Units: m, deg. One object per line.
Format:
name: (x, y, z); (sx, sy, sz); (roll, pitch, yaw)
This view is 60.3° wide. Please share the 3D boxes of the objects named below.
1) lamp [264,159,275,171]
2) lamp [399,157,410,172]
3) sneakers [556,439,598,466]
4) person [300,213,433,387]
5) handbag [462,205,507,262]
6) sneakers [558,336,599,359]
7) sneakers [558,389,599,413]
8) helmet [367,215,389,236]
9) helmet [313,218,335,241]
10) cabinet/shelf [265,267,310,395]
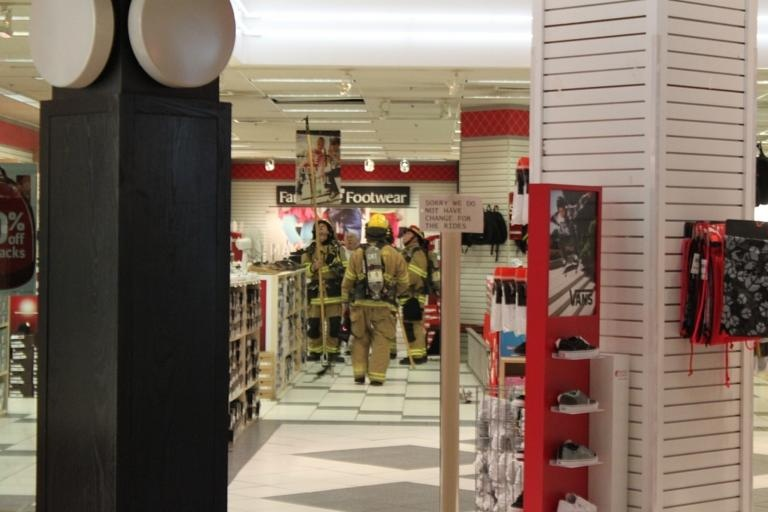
lamp: (-2.818, -2.245, 16.222); (0.247, 0.358, 0.139); (3, -8, 1)
lamp: (0.470, -2.108, 15.225); (0.239, 0.351, 0.091); (-2, 3, -4)
sneakers: (1.074, 1.100, 3.730); (0.263, 0.125, 0.109); (2, -3, -28)
person: (-0.095, 0.594, 9.237); (0.830, 2.367, 0.640); (-1, 2, -34)
handbag: (1.728, -0.364, 10.754); (0.742, 1.065, 0.995); (-1, -5, 10)
sneakers: (1.078, 0.520, 3.756); (0.270, 0.119, 0.101); (2, -2, -18)
sneakers: (1.134, 0.827, 3.791); (0.279, 0.113, 0.102); (4, -5, -35)
helmet: (-0.096, -0.440, 9.613); (0.260, 0.284, 0.333); (0, -7, -1)
helmet: (-0.894, -0.414, 9.955); (0.245, 0.359, 0.294); (0, 9, 9)
cabinet/shelf: (-1.329, 1.024, 8.950); (0.225, 0.938, 1.588); (1, 3, 4)
